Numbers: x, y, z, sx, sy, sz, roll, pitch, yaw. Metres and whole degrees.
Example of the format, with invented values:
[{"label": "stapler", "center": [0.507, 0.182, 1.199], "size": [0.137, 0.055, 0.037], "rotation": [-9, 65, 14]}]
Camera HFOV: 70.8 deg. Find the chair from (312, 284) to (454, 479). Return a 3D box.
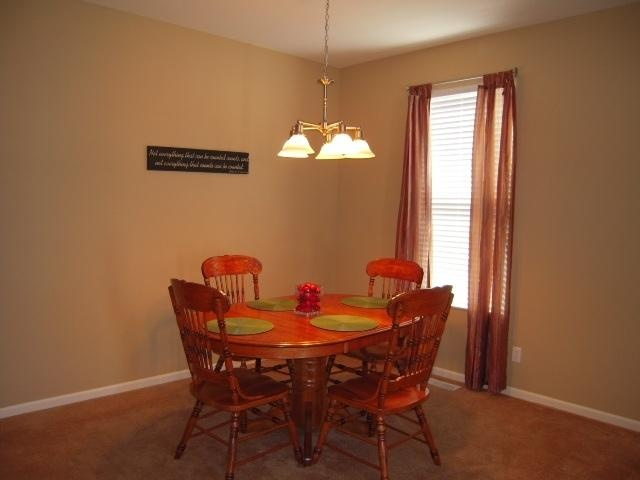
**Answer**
[{"label": "chair", "center": [0.463, 0.913, 3.124], "size": [0.827, 1.302, 0.857], "rotation": [2, 7, 7]}]
